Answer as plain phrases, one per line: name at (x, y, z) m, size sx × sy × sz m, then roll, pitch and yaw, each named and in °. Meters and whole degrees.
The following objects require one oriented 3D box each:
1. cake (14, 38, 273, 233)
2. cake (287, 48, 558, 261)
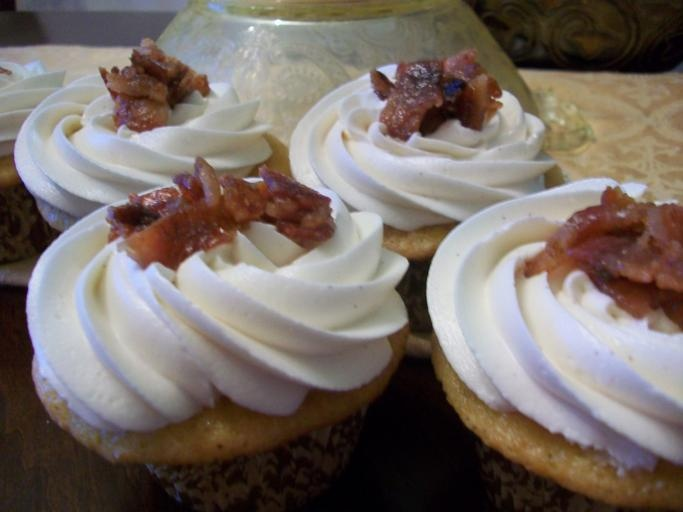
cake at (-0.510, -0.269, 1.837) m, size 0.462 × 0.169 × 0.432 m, roll -6°, pitch 44°, yaw -9°
cake at (0.165, -0.257, 1.841) m, size 0.534 × 0.259 × 0.542 m, roll 37°, pitch 49°, yaw 24°
